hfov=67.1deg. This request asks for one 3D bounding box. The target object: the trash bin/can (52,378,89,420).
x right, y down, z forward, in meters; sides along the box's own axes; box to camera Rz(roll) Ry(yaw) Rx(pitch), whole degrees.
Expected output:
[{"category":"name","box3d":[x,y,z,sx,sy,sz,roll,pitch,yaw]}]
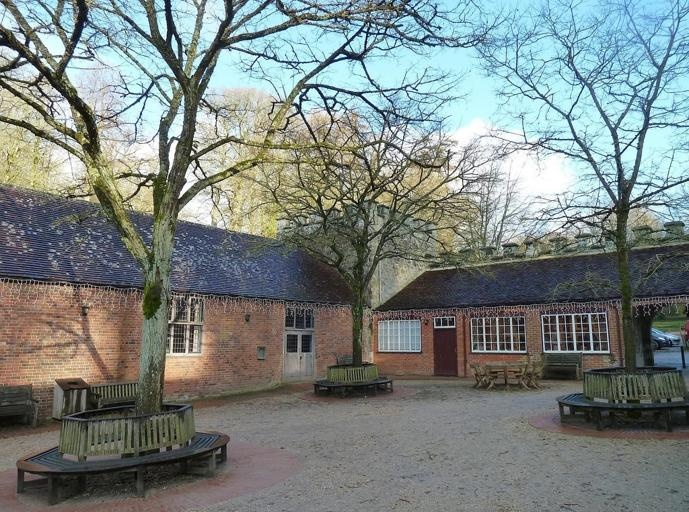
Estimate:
[{"category":"trash bin/can","box3d":[-7.581,3.927,14.341,0.897,0.878,0.889,0,-6,26]}]

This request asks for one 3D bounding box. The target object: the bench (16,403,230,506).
[{"category":"bench","box3d":[-3.841,3.410,9.109,3.271,1.288,1.538,1,-6,-25]}]

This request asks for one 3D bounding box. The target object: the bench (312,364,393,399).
[{"category":"bench","box3d":[0.253,4.434,18.404,1.571,0.562,1.791,-2,-4,44]}]
